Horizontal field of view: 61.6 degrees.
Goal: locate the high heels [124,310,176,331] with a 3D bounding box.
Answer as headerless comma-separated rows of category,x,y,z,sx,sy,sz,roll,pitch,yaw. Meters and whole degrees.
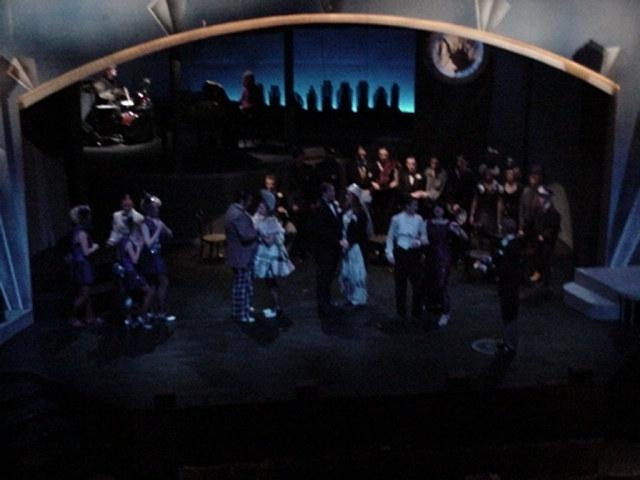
high heels,-1.737,0.823,5.468,0.525,0.143,0.080,-3,15,-9

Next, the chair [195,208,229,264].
chair,-1.105,-0.050,5.569,0.293,0.481,0.301,1,6,-1

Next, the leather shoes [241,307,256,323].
leather shoes,-0.762,0.773,5.607,0.150,0.157,0.089,-3,15,-9
